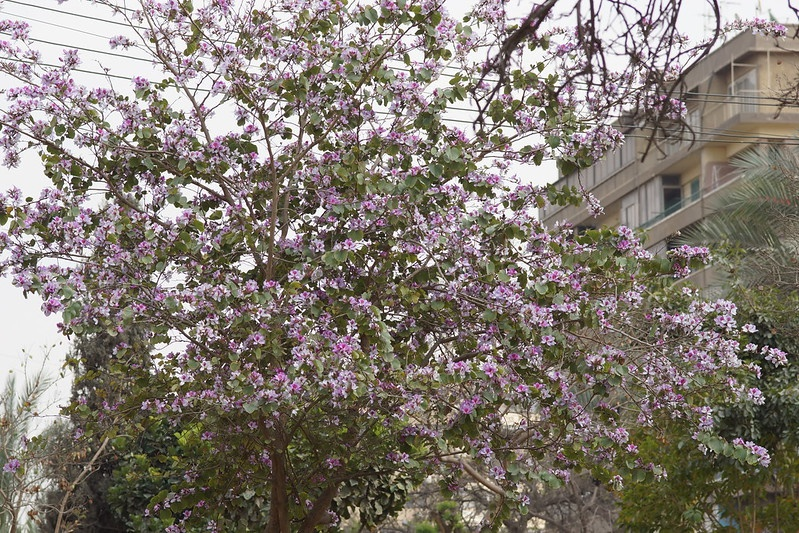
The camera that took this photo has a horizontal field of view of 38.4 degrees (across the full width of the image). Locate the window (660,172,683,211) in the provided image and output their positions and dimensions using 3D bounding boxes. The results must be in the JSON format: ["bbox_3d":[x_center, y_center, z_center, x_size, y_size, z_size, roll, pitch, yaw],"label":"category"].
[{"bbox_3d":[7.987,-1.938,33.241,0.845,1.484,0.078,-1,-7,-25],"label":"window"}]
